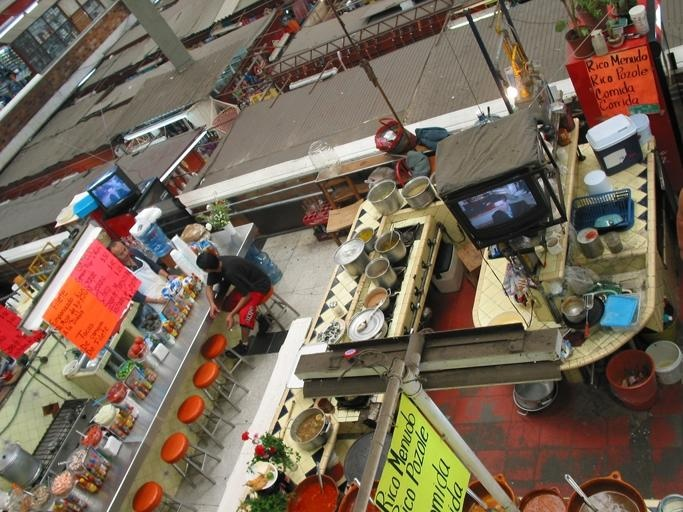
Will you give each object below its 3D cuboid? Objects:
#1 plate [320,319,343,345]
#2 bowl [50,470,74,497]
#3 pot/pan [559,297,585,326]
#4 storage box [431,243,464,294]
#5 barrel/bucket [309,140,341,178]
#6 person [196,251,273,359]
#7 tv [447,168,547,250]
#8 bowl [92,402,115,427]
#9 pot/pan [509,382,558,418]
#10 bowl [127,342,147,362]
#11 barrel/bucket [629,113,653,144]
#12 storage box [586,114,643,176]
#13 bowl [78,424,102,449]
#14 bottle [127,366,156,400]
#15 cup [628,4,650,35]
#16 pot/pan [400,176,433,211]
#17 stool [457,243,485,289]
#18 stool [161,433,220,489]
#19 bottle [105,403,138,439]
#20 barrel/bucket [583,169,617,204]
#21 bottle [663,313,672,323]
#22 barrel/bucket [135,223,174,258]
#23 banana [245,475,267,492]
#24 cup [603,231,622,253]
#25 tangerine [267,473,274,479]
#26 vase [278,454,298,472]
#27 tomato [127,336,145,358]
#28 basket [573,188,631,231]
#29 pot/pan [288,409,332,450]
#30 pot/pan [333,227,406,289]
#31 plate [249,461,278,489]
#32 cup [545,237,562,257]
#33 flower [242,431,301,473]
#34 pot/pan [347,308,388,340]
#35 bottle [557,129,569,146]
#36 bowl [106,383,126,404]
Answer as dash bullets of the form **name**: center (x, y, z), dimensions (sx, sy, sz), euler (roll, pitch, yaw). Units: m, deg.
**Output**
- **plate**: center (-0.109, 1.025, 7.245), dimensions (0.222, 0.073, 0.308), euler (17, 64, 50)
- **bowl**: center (-3.554, 2.894, 6.838), dimensions (0.316, 0.162, 0.292), euler (-24, 35, 18)
- **pot/pan**: center (2.670, 0.620, 6.121), dimensions (0.276, 0.149, 0.304), euler (-21, 35, 21)
- **storage box**: center (1.641, 0.155, 8.262), dimensions (0.355, 0.620, 0.520), euler (0, 61, 29)
- **barrel/bucket**: center (-0.315, -1.813, 10.059), dimensions (0.535, 0.293, 1.193), euler (-32, 33, 5)
- **person**: center (-1.840, 0.848, 8.980), dimensions (0.961, 1.549, 0.758), euler (-35, 59, -15)
- **tv**: center (1.658, -0.447, 5.574), dimensions (0.899, 0.666, 0.888), euler (-17, 5, 37)
- **bowl**: center (-3.262, 2.193, 7.399), dimensions (0.266, 0.105, 0.298), euler (-30, 25, 32)
- **pot/pan**: center (2.440, 1.758, 6.734), dimensions (0.586, 0.233, 0.332), euler (-21, 36, 21)
- **bowl**: center (-3.011, 1.404, 7.931), dimensions (0.239, 0.160, 0.242), euler (-163, 90, -72)
- **barrel/bucket**: center (3.863, -1.641, 6.908), dimensions (0.295, 0.324, 0.303), euler (-23, 42, 23)
- **storage box**: center (3.556, -1.442, 6.938), dimensions (0.578, 0.666, 0.297), euler (-27, 34, 13)
- **bowl**: center (-3.394, 2.422, 7.256), dimensions (0.261, 0.088, 0.262), euler (-13, 48, 15)
- **bottle**: center (-2.927, 1.856, 7.780), dimensions (0.261, 0.459, 0.265), euler (-30, 26, 17)
- **cup**: center (3.727, -2.946, 6.677), dimensions (0.180, 0.308, 0.299), euler (-11, 40, 33)
- **pot/pan**: center (1.176, -0.946, 8.103), dimensions (0.480, 0.323, 0.504), euler (-27, 43, 20)
- **stool**: center (1.930, 0.130, 7.943), dimensions (0.404, 0.542, 0.378), euler (-34, 70, 14)
- **stool**: center (-2.329, 3.046, 8.075), dimensions (0.745, 0.665, 0.476), euler (5, 51, 45)
- **bottle**: center (-3.023, 2.305, 7.514), dimensions (0.373, 0.375, 0.389), euler (-2, 34, -5)
- **barrel/bucket**: center (3.241, -0.914, 6.856), dimensions (0.357, 0.378, 0.355), euler (-22, 43, 22)
- **bottle**: center (3.884, 0.724, 6.345), dimensions (0.088, 0.068, 0.142), euler (-6, 43, 38)
- **barrel/bucket**: center (-3.136, -0.247, 8.896), dimensions (0.325, 0.524, 0.329), euler (-14, 49, 17)
- **banana**: center (-0.981, 2.625, 6.168), dimensions (0.218, 0.062, 0.143), euler (-36, 52, -13)
- **cup**: center (3.241, -0.170, 6.369), dimensions (0.166, 0.183, 0.230), euler (-28, 34, 11)
- **tangerine**: center (-0.818, 2.531, 6.194), dimensions (0.062, 0.060, 0.058), euler (5, 33, 5)
- **vase**: center (-0.619, 2.435, 6.341), dimensions (0.226, 0.229, 0.121), euler (10, 24, 32)
- **tomato**: center (-3.034, 1.355, 7.965), dimensions (0.150, 0.269, 0.260), euler (9, 30, -11)
- **basket**: center (3.256, -0.545, 6.639), dimensions (0.706, 0.330, 0.561), euler (-16, 38, 27)
- **pot/pan**: center (-0.378, 2.121, 6.563), dimensions (0.510, 0.246, 0.437), euler (-43, 34, -12)
- **pot/pan**: center (0.383, 0.097, 7.815), dimensions (0.960, 0.351, 0.727), euler (4, 57, 22)
- **plate**: center (-0.919, 2.542, 6.262), dimensions (0.280, 0.161, 0.280), euler (-46, 37, -8)
- **cup**: center (2.403, -0.118, 6.048), dimensions (0.133, 0.191, 0.199), euler (2, 56, 40)
- **flower**: center (-0.899, 2.388, 6.390), dimensions (0.517, 0.253, 0.531), euler (33, 31, 26)
- **pot/pan**: center (0.324, 0.878, 6.910), dimensions (0.470, 0.182, 0.374), euler (-47, 38, -4)
- **bottle**: center (2.937, -1.603, 7.076), dimensions (0.128, 0.099, 0.248), euler (-10, 79, 16)
- **bowl**: center (-3.173, 1.925, 7.547), dimensions (0.155, 0.219, 0.283), euler (-20, 53, 65)
